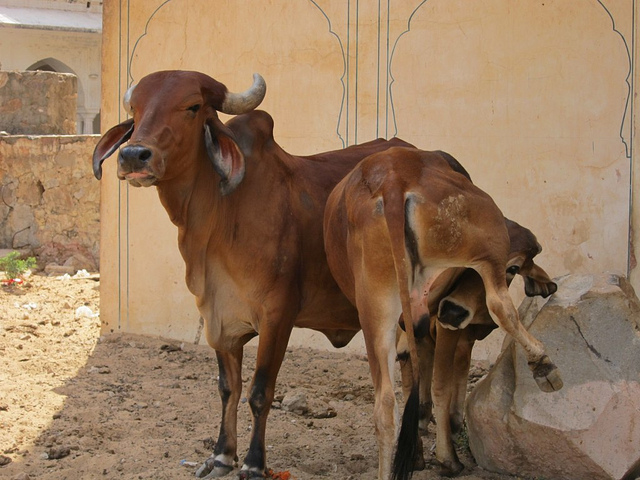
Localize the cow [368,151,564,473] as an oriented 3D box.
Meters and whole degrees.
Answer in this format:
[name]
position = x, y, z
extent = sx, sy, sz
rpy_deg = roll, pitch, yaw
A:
[cow]
position = 0.999, 0.530, 8.603
extent = 1.369, 1.985, 0.938
rpy_deg = 4, 1, -8
